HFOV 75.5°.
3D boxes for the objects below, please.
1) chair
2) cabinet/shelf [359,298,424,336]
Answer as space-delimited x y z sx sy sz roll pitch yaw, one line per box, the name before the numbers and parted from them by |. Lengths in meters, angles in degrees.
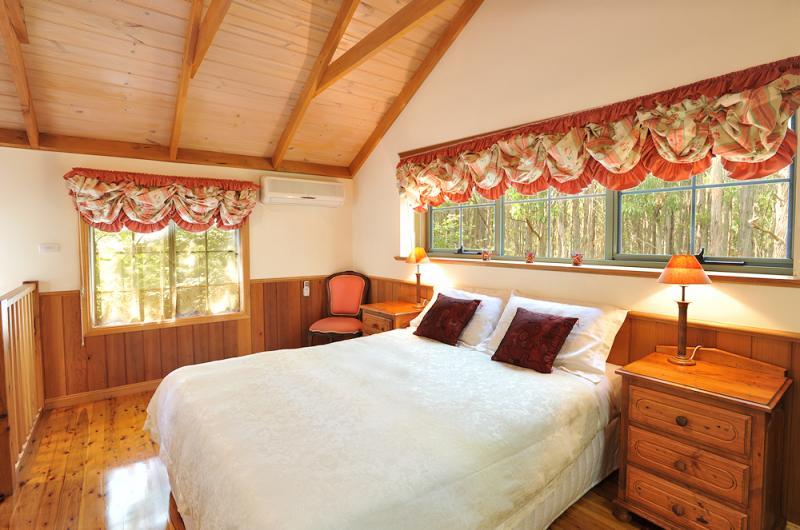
chair | -0.678 0.643 6.076 0.667 1.049 0.708 5 12 24
cabinet/shelf | -0.062 0.515 5.492 0.394 0.508 0.534 -1 2 -34
